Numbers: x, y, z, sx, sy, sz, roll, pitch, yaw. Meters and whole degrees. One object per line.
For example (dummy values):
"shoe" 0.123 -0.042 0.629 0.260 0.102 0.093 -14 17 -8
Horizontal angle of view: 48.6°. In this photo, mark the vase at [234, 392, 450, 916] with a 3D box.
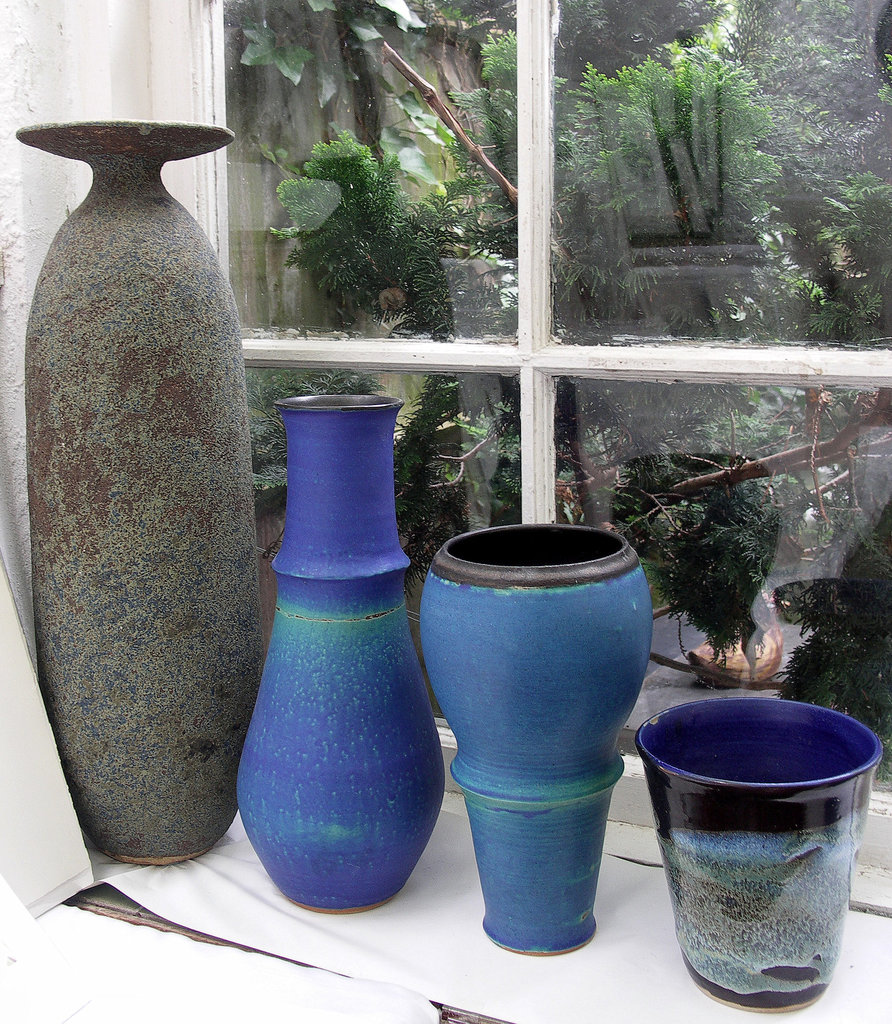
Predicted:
"vase" -0.088 0.113 0.765 0.160 0.396 0.140 -5 11 -13

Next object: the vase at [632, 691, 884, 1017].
"vase" 0.159 0.204 0.678 0.196 0.187 0.192 -2 13 4

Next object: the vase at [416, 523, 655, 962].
"vase" 0.065 0.175 0.662 0.150 0.296 0.088 -3 11 -3

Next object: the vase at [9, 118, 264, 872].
"vase" -0.243 0.006 0.785 0.190 0.593 0.093 -5 11 -11
